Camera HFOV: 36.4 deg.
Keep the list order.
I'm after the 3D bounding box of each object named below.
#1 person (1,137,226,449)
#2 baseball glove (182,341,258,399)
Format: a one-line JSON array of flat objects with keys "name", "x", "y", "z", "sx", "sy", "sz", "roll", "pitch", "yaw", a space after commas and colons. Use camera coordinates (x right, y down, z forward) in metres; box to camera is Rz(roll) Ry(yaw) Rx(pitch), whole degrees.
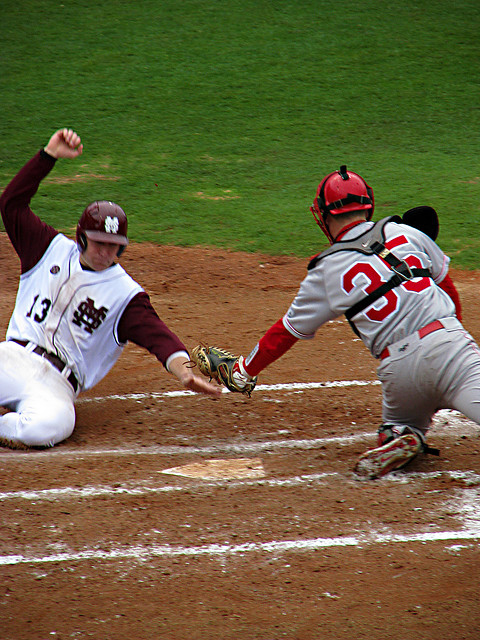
[{"name": "person", "x": -0.766, "y": -0.125, "z": 3.413, "sx": 0.914, "sy": 1.455, "sz": 0.577, "roll": 17, "pitch": 14, "yaw": 38}, {"name": "baseball glove", "x": -0.043, "y": 0.239, "z": 3.644, "sx": 0.174, "sy": 0.219, "sz": 0.398, "roll": 0, "pitch": 33, "yaw": -48}]
